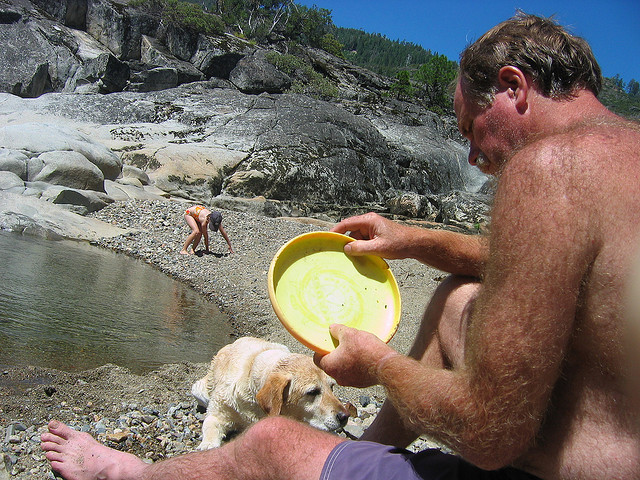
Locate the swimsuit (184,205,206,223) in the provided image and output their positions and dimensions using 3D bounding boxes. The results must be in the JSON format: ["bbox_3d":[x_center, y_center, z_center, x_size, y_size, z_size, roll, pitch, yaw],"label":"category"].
[{"bbox_3d":[-2.516,-0.532,10.576,0.302,0.316,0.527,10,10,-23],"label":"swimsuit"}]
